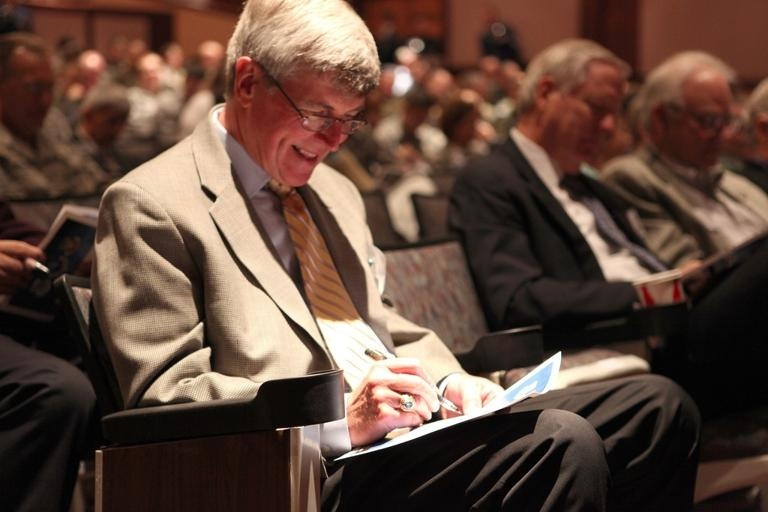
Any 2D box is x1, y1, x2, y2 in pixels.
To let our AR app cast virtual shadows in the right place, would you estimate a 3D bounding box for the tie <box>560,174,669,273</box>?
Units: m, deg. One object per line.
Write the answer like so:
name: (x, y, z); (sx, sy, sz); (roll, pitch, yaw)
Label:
tie: (0.833, -0.106, 2.686); (0.388, 0.101, 0.096); (44, 37, 3)
